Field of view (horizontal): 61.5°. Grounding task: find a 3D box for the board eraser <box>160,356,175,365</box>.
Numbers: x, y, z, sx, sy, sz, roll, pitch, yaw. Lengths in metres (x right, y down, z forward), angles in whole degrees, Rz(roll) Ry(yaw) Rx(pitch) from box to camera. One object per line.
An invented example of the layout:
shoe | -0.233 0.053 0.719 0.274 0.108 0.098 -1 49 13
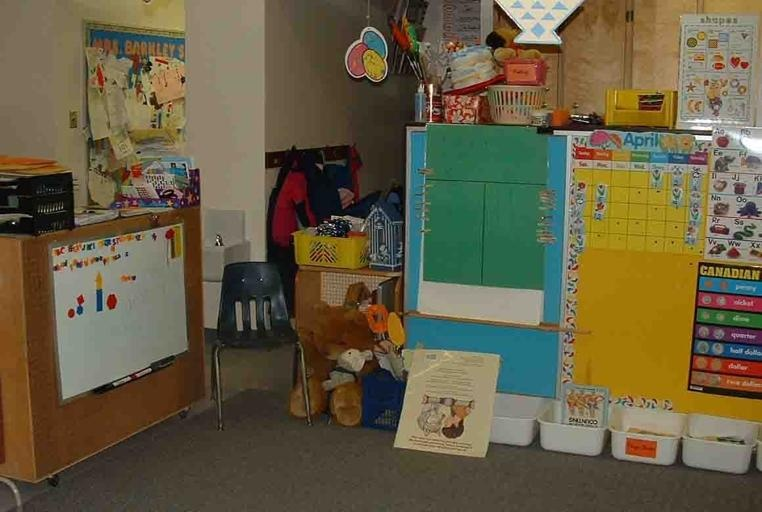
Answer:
board eraser | -1.336 0.646 4.024 0.060 0.039 0.015 -16 12 26

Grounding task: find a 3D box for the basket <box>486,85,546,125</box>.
basket | 0.874 -0.981 4.177 0.287 0.177 0.289 0 9 -1

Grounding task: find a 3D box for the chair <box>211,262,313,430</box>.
chair | -0.825 0.551 4.275 0.630 0.992 0.623 -4 11 -14

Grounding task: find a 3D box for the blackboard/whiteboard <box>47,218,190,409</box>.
blackboard/whiteboard | -1.545 0.312 3.686 0.091 0.924 1.117 2 7 25

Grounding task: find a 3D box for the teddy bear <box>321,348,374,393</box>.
teddy bear | -0.207 0.748 4.260 0.366 0.264 0.145 -9 13 -34

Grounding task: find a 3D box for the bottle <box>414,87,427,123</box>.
bottle | 0.267 -1.038 4.334 0.065 0.243 0.103 -2 11 -4
